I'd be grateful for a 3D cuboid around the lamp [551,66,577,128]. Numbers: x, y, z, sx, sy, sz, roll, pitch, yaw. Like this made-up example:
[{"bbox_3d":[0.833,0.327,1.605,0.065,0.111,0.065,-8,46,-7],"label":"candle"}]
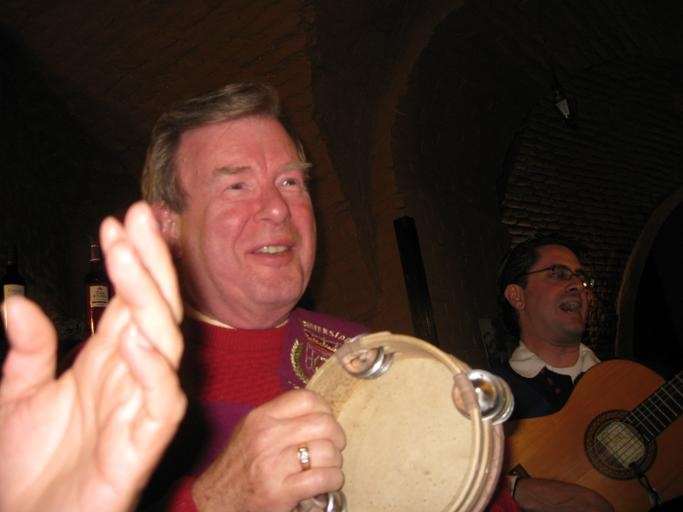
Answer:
[{"bbox_3d":[1.223,-0.883,3.368,0.102,0.324,0.170,-9,-16,31],"label":"lamp"}]
